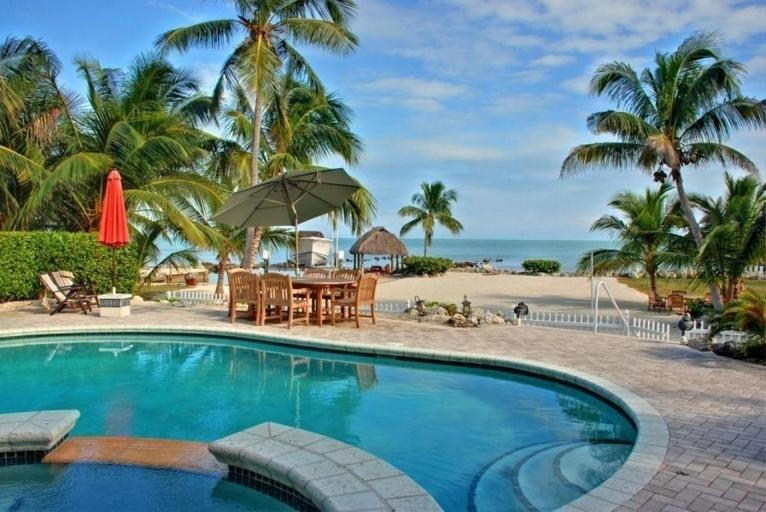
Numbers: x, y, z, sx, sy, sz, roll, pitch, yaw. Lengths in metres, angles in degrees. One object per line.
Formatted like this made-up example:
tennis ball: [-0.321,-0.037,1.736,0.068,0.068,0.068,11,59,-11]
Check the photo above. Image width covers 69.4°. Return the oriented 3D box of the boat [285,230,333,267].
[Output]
boat: [-6.362,-0.892,51.000,2.838,2.546,8.496,-2,-4,-6]
